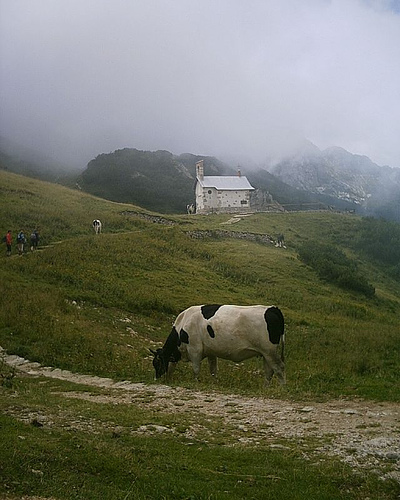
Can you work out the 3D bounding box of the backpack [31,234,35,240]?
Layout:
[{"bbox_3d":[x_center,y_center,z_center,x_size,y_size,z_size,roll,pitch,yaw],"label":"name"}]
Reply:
[{"bbox_3d":[-10.021,-0.794,34.875,0.261,0.448,0.293,2,0,-19],"label":"backpack"}]
